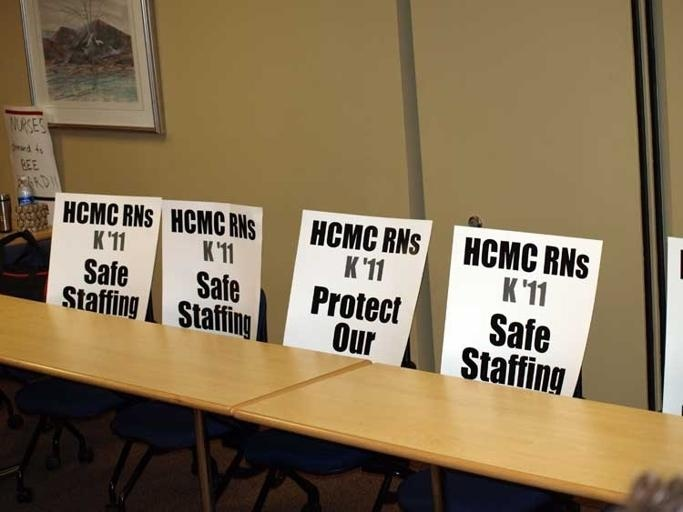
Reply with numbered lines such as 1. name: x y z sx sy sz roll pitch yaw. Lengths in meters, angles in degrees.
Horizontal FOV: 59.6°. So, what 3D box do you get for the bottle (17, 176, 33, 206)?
1. bottle: -2.586 -0.549 4.894 0.114 0.207 0.448 -5 13 -27
